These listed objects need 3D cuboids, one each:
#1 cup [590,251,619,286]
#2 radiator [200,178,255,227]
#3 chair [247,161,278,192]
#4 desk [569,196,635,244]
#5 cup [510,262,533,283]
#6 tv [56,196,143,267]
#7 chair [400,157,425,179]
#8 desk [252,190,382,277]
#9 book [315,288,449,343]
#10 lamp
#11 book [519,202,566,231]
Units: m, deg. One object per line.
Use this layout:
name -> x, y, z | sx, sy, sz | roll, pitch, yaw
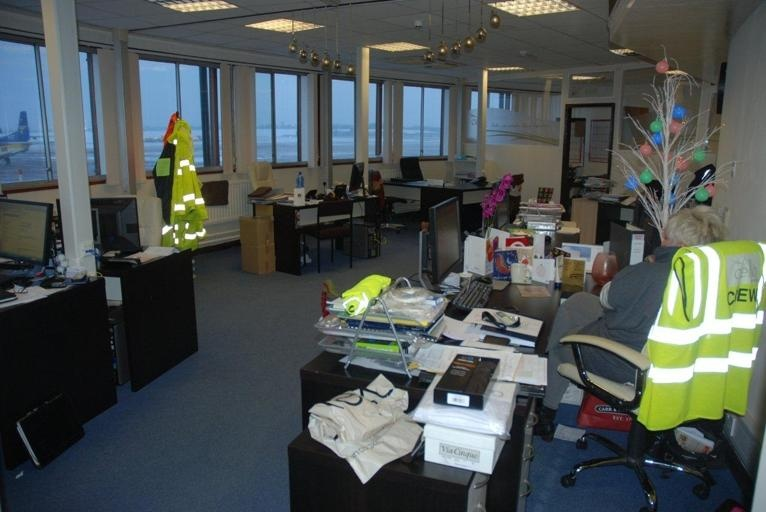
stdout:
cup -> 1.783, 0.078, 4.432 | 0.248, 0.302, 0.243 | 1, 11, 0
radiator -> -2.579, -0.882, 8.816 | 0.094, 0.564, 0.914 | 5, 12, 34
chair -> -2.016, -1.351, 8.968 | 0.355, 0.405, 0.642 | -3, 13, -6
desk -> 2.962, -0.511, 7.275 | 0.385, 0.643, 0.699 | -8, 16, -24
cup -> 1.143, 0.131, 4.517 | 0.120, 0.139, 0.187 | -4, 15, -19
tv -> -2.530, -0.209, 4.789 | 0.585, 0.583, 0.206 | -5, 16, -27
chair -> 0.620, -1.852, 11.283 | 0.440, 0.625, 0.513 | -10, 16, -41
desk -> -1.085, -0.513, 8.145 | 1.167, 1.045, 2.054 | 17, 23, 40
book -> -0.005, 0.349, 3.211 | 0.428, 0.130, 0.394 | 2, 11, 13
lamp -> 0.459, -3.027, 7.881 | 1.844, 0.431, 1.848 | -8, 10, -42
book -> 1.612, -0.392, 5.419 | 0.363, 0.145, 0.363 | 3, 19, 7
